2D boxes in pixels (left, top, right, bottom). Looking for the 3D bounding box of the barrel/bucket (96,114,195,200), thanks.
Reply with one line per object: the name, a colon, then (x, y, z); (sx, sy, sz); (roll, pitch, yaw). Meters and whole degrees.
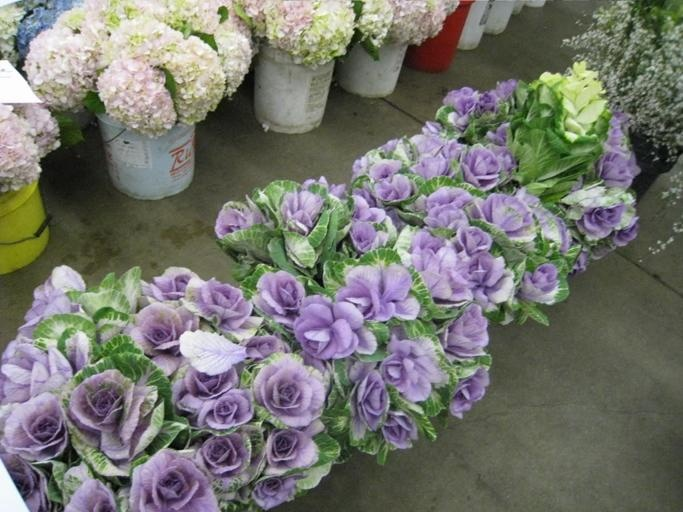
barrel/bucket: (-0.947, -0.574, 2.544); (0.395, 0.441, 0.408); (9, 52, -12)
